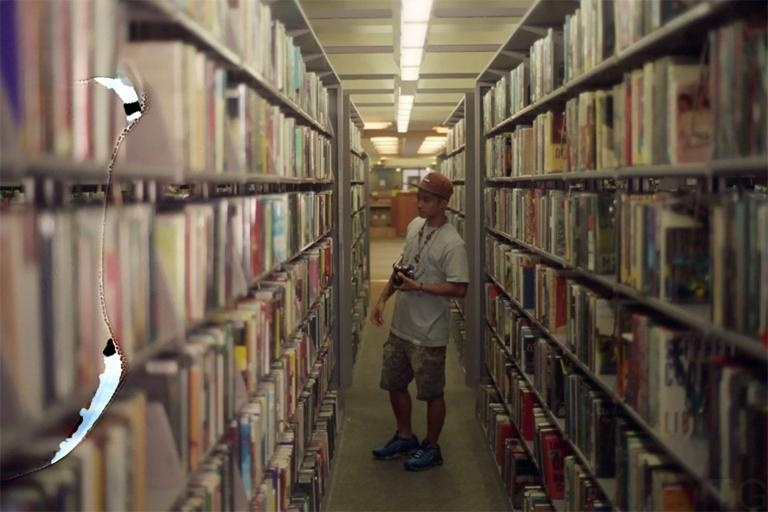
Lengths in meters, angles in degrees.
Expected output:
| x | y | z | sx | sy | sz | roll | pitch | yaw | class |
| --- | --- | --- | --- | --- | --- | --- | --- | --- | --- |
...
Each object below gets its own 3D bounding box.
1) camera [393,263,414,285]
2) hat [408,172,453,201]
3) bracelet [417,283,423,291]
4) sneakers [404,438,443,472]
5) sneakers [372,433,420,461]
| x | y | z | sx | sy | sz | roll | pitch | yaw | class |
| --- | --- | --- | --- | --- | --- | --- | --- | --- | --- |
| 0.108 | 0.097 | 4.495 | 0.128 | 0.298 | 0.111 | 0 | -81 | 0 | camera |
| 0.281 | -0.413 | 4.521 | 0.225 | 0.149 | 0.124 | 24 | -84 | -30 | hat |
| 0.205 | 0.171 | 4.354 | 0.027 | 0.015 | 0.037 | -13 | -75 | -26 | bracelet |
| 0.245 | 1.210 | 4.608 | 0.110 | 0.264 | 0.134 | -4 | -97 | 37 | sneakers |
| 0.082 | 1.195 | 4.778 | 0.329 | 0.123 | 0.158 | -3 | -96 | -18 | sneakers |
